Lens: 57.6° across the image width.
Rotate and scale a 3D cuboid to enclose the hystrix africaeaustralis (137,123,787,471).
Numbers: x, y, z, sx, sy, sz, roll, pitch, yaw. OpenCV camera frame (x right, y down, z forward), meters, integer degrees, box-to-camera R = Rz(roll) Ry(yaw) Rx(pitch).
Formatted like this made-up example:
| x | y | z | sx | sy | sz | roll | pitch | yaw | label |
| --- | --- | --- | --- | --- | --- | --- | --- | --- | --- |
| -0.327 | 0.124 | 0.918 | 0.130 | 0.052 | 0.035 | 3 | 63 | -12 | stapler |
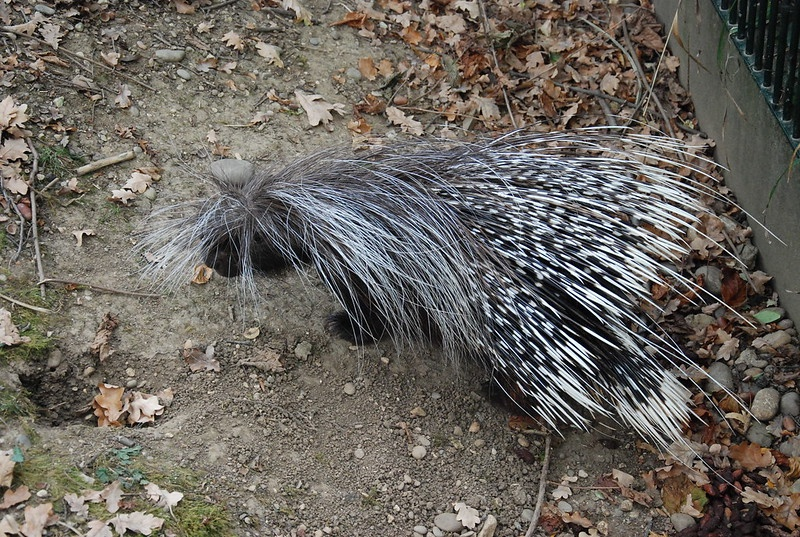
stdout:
| x | y | z | sx | sy | sz | roll | pitch | yaw | label |
| --- | --- | --- | --- | --- | --- | --- | --- | --- | --- |
| 0.225 | -0.040 | 3.922 | 2.818 | 1.323 | 1.480 | 12 | 48 | 4 | hystrix africaeaustralis |
